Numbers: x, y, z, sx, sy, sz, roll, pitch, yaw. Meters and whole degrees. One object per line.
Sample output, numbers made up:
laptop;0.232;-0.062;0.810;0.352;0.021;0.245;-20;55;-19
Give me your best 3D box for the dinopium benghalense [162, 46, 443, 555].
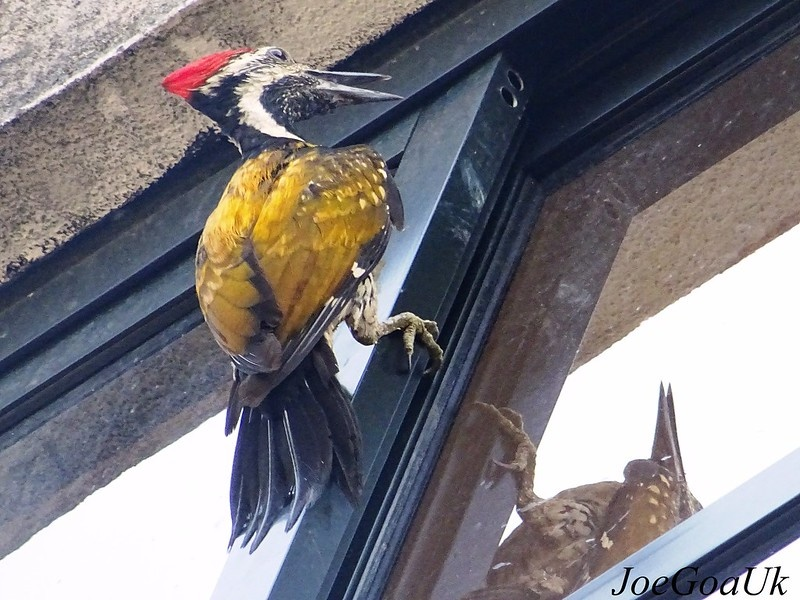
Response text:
dinopium benghalense;-0.234;-0.062;5.831;0.503;1.446;0.678;-26;-23;37
